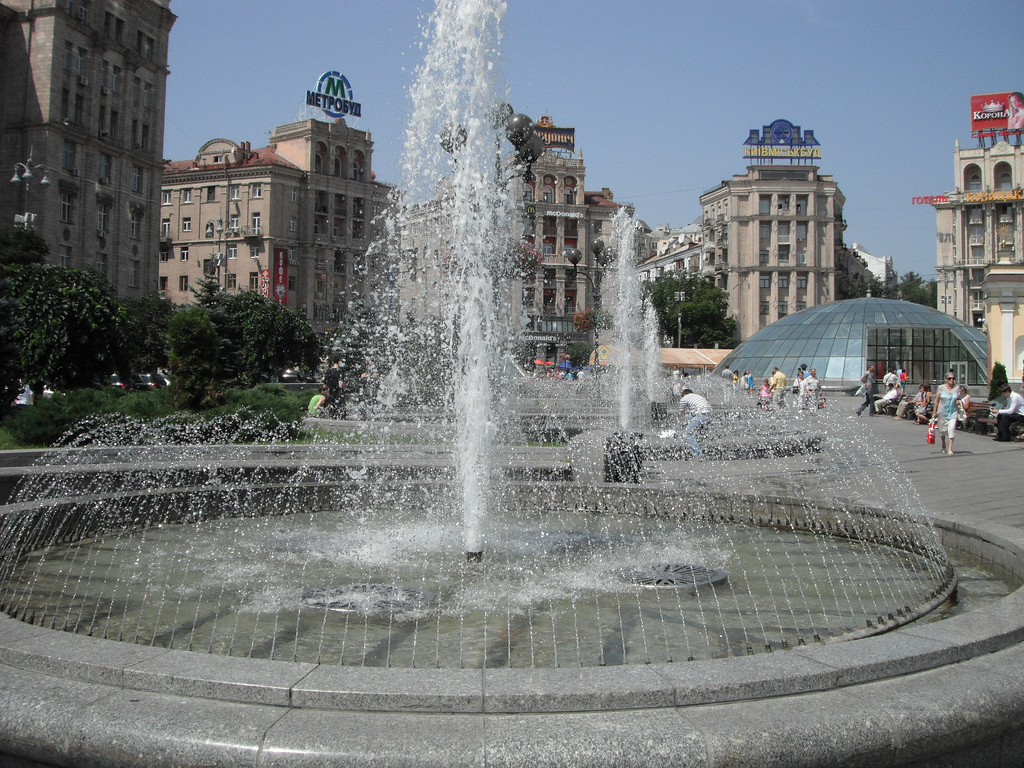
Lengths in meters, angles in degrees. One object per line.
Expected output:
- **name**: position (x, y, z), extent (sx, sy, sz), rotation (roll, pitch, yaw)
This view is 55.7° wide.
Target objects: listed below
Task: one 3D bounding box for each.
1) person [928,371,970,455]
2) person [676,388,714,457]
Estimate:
- **person**: position (7.810, 0.498, 17.319), extent (0.567, 1.494, 0.534), rotation (0, 21, 18)
- **person**: position (2.936, 0.605, 15.376), extent (0.484, 0.951, 1.553), rotation (1, 3, 10)
